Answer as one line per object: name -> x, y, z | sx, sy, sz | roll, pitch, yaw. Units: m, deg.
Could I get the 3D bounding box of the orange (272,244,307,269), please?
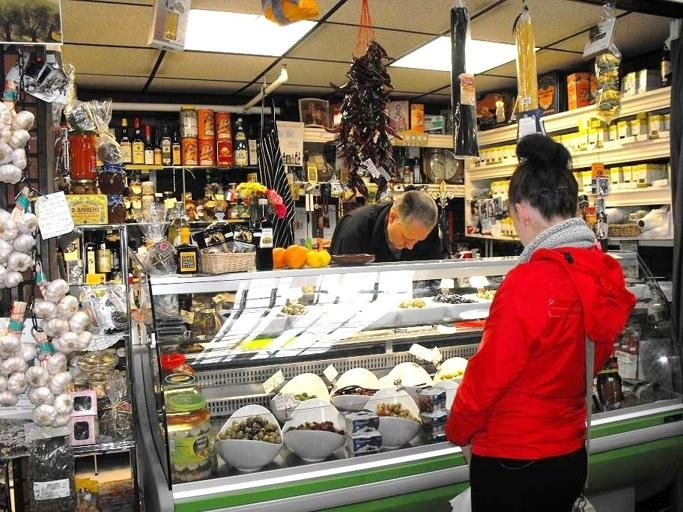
orange -> -0.253, -0.003, 2.725 | 0.134, 0.117, 0.120 | -2, 9, -5

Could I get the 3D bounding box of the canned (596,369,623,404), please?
canned -> 1.346, 0.657, 2.874 | 0.138, 0.171, 0.185 | -8, -12, 13

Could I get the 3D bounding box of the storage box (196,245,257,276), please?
storage box -> -0.502, 0.022, 2.538 | 0.189, 0.121, 0.211 | 2, 2, -40

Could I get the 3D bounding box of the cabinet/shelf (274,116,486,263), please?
cabinet/shelf -> 0.251, -0.595, 4.790 | 2.460, 1.454, 0.451 | -1, 6, -20

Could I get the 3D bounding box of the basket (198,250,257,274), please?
basket -> -0.496, 0.021, 2.516 | 0.174, 0.062, 0.118 | -3, 4, -25

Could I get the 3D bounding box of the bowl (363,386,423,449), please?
bowl -> 0.243, 0.699, 2.517 | 0.220, 0.217, 0.208 | 4, 5, 0

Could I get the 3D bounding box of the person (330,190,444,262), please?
person -> 0.273, -0.183, 3.914 | 0.774, 0.488, 0.723 | -5, 0, 3

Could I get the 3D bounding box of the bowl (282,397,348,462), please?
bowl -> -0.122, 0.716, 2.429 | 0.250, 0.208, 0.314 | 0, 6, -22

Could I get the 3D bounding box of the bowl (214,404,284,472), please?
bowl -> -0.379, 0.746, 2.310 | 0.266, 0.243, 0.157 | -5, -1, -14

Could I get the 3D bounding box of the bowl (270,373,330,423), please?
bowl -> -0.183, 0.591, 2.479 | 0.276, 0.178, 0.262 | 4, 5, 0

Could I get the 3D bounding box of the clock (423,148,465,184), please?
clock -> 1.189, -1.080, 6.763 | 0.463, 0.411, 0.145 | -4, 3, -25

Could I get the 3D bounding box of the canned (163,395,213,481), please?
canned -> -0.615, 0.746, 2.234 | 0.191, 0.277, 0.183 | 1, -10, -37

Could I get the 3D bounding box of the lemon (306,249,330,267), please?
lemon -> -0.098, 0.017, 2.745 | 0.095, 0.087, 0.083 | 23, 8, 21
